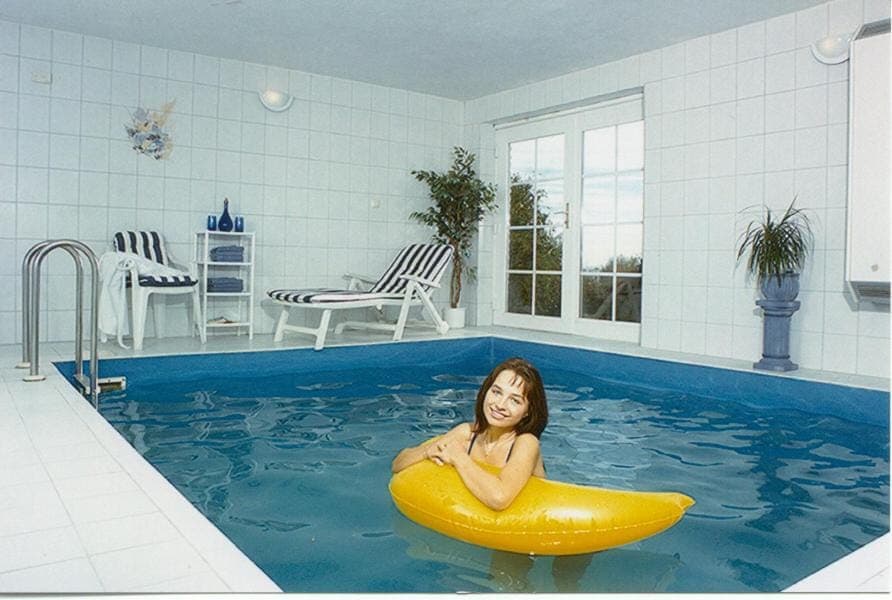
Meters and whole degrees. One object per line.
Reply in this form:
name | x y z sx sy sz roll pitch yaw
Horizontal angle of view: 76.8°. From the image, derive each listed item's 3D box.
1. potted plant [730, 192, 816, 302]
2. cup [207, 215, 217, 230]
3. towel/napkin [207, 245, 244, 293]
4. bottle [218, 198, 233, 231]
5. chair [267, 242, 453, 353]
potted plant | 2.739 -0.371 4.714 0.519 0.650 0.526 -6 -7 41
cup | -2.405 -0.799 5.804 0.102 0.141 0.087 -7 13 -40
towel/napkin | -2.268 -0.335 5.780 0.349 0.438 0.446 -2 10 -20
bottle | -2.330 -0.902 5.923 0.156 0.338 0.408 -3 10 -22
chair | -0.835 -0.093 6.045 1.808 1.001 1.119 1 0 -39
